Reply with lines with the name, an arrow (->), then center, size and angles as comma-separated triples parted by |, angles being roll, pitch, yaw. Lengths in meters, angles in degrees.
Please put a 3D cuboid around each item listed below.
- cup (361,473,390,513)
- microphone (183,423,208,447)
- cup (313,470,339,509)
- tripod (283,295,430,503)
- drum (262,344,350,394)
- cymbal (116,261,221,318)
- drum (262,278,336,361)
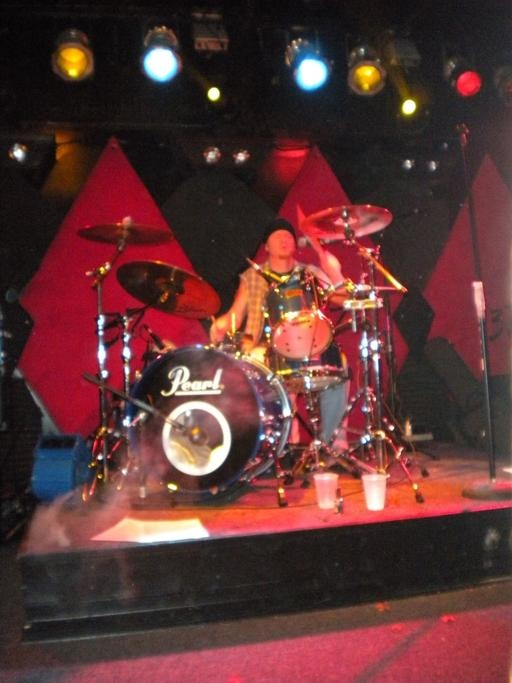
cup -> 0.544, 0.677, 3.011 | 0.145, 0.138, 0.144 | 2, -26, 1
microphone -> -0.277, 0.438, 3.132 | 0.113, 0.092, 0.044 | 4, -5, -6
cup -> 0.323, 0.693, 3.119 | 0.149, 0.142, 0.143 | -1, -29, 0
tripod -> 0.566, 0.370, 3.953 | 0.846, 1.293, 0.855 | -14, -22, 37
drum -> 0.264, 0.154, 3.668 | 0.317, 0.181, 0.324 | -5, -23, -2
cymbal -> -0.476, -0.277, 3.669 | 0.554, 0.206, 0.656 | 5, -6, -13
drum -> 0.215, -0.135, 3.632 | 0.443, 0.397, 0.415 | -13, 28, 2
